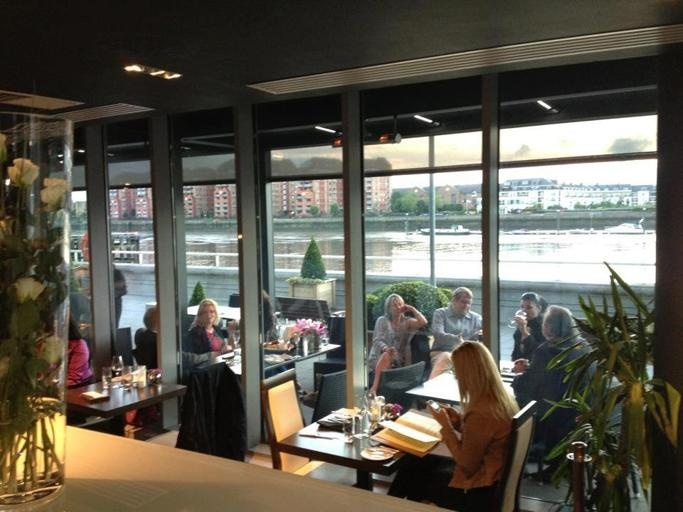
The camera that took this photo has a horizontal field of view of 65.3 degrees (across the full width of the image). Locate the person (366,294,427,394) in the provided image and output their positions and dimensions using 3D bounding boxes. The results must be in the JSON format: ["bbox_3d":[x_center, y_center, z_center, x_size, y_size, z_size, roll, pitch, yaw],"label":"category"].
[{"bbox_3d":[0.406,0.781,4.383,0.446,0.948,0.532,6,-9,26],"label":"person"}]

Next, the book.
[{"bbox_3d":[0.458,1.149,3.468,0.318,0.075,0.307,10,12,33],"label":"book"}]

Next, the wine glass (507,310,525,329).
[{"bbox_3d":[1.323,0.465,4.014,0.102,0.109,0.128,4,-7,15],"label":"wine glass"}]

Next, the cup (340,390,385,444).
[{"bbox_3d":[0.163,1.113,3.657,0.259,0.406,0.251,1,-6,0],"label":"cup"}]
